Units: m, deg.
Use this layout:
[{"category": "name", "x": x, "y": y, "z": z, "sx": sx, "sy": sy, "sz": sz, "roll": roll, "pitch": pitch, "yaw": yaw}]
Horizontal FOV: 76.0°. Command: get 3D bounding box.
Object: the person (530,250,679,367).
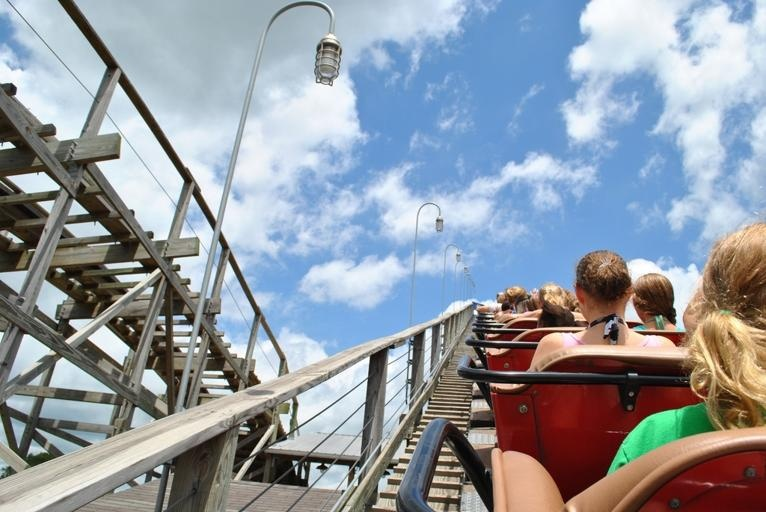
[{"category": "person", "x": 1.220, "y": 0.325, "z": 2.661, "sx": 0.844, "sy": 0.423, "sz": 0.681, "roll": -1, "pitch": -92, "yaw": 6}]
